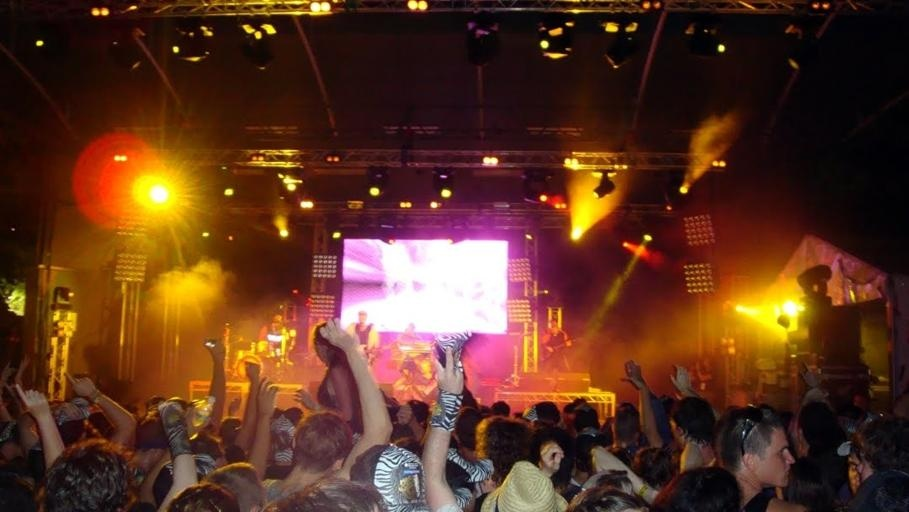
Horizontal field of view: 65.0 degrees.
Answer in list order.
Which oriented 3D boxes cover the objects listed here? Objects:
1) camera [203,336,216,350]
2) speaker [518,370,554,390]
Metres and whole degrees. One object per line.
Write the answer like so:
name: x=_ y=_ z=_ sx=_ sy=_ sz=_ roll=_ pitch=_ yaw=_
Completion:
camera: x=-3.507 y=1.256 z=10.223 sx=0.169 sy=0.131 sz=0.158 roll=3 pitch=-5 yaw=33
speaker: x=1.970 y=2.986 z=17.122 sx=0.615 sy=0.277 sz=0.423 roll=0 pitch=-15 yaw=5
